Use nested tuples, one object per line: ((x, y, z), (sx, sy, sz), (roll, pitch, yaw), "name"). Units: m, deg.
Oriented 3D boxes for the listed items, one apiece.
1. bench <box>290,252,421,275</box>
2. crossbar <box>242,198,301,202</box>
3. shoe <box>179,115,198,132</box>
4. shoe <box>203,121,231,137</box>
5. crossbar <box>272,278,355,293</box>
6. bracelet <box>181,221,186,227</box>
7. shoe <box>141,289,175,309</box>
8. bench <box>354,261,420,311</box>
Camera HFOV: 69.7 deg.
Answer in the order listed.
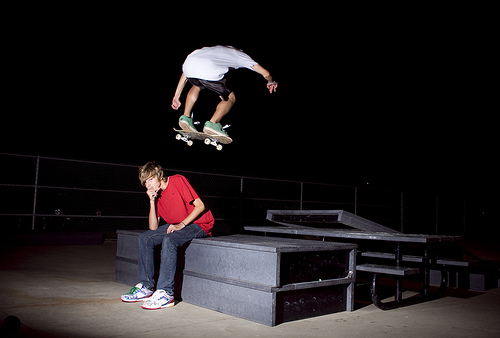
((1.285, 1.178, 4.572), (1.774, 0.252, 0.459), (4, -2, -10), "bench")
((0.908, 1.116, 13.044), (2.055, 0.097, 0.992), (5, -2, -36), "crossbar")
((-1.104, -0.813, 6.319), (0.268, 0.281, 0.380), (4, -1, 5), "shoe")
((-0.613, -0.720, 6.420), (0.449, 0.258, 0.409), (4, -1, -6), "shoe")
((0.772, 1.371, 4.296), (1.273, 0.115, 0.082), (5, -1, -31), "crossbar")
((-0.881, 0.722, 4.726), (0.072, 0.066, 0.022), (3, -1, 28), "bracelet")
((-1.134, 1.608, 4.448), (0.191, 0.199, 0.487), (-2, -11, 37), "shoe")
((1.857, 1.570, 4.803), (0.527, 0.562, 0.945), (-2, -4, -5), "bench")
